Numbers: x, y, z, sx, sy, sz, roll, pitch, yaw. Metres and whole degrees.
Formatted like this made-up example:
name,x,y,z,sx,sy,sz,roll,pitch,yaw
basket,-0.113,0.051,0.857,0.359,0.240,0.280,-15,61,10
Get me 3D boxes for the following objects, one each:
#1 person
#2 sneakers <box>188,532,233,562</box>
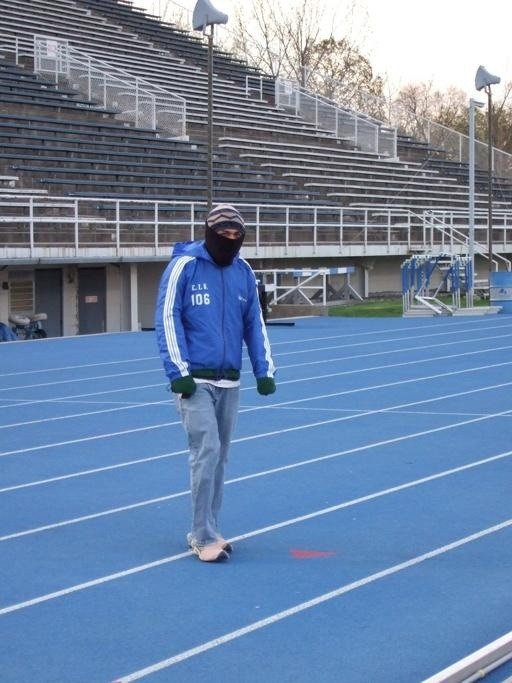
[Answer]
name,x,y,z,sx,sy,sz,roll,pitch,yaw
person,-0.231,0.175,3.225,0.542,1.485,0.574,-1,13,-21
sneakers,-0.199,0.867,3.132,0.075,0.094,0.192,-3,-1,-40
